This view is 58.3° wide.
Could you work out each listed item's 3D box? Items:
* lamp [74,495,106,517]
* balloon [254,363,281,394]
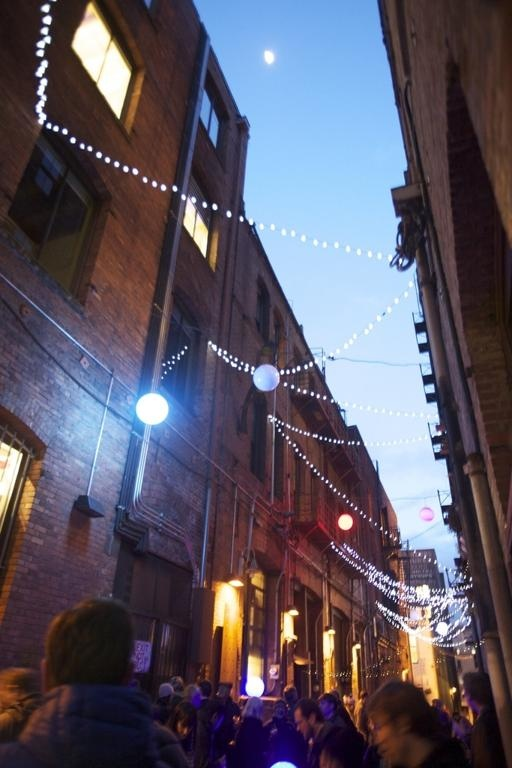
[{"bbox_3d":[-2.347,1.769,6.541,0.258,0.251,0.537,-3,-33,18],"label":"lamp"},{"bbox_3d":[0.283,-0.191,11.604,0.537,0.783,0.846,10,-36,6],"label":"balloon"}]
